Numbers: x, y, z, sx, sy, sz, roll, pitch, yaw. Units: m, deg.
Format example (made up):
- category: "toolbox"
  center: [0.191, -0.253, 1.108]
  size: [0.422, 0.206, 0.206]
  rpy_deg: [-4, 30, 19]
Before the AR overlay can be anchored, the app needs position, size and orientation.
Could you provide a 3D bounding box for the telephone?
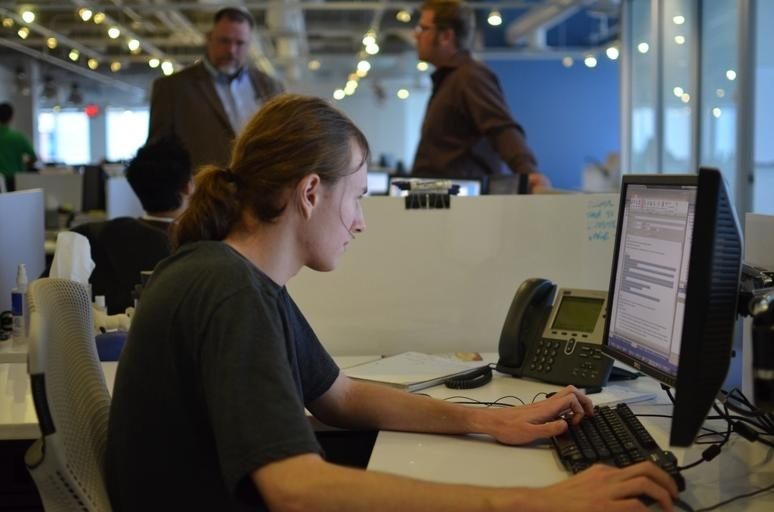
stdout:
- category: "telephone"
  center: [0.560, 0.239, 2.142]
  size: [0.213, 0.320, 0.383]
  rpy_deg: [4, -1, -44]
